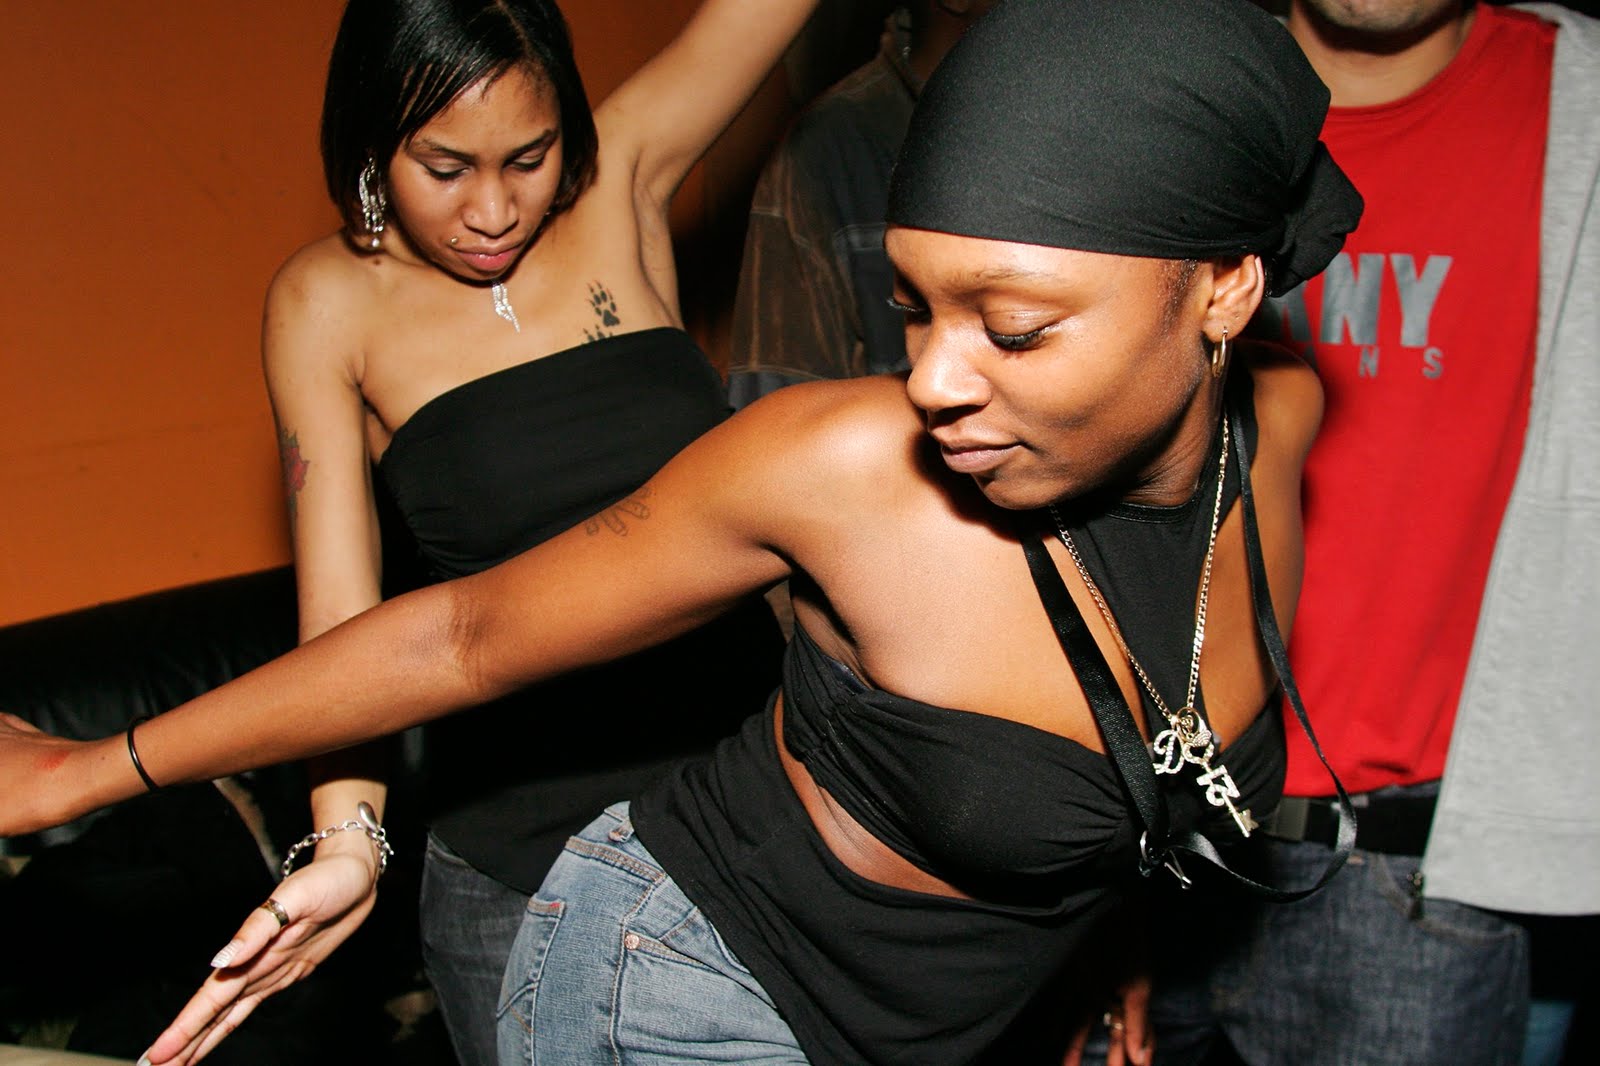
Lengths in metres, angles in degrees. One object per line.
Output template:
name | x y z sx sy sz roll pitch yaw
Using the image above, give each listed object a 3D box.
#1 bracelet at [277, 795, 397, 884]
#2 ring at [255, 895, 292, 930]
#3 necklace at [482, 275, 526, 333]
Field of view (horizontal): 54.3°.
bracelet | -0.817 0.578 2.753 0.139 0.078 0.212 24 25 22
ring | -0.874 0.633 2.604 0.020 0.055 0.046 -45 36 -15
necklace | -0.612 -0.465 3.205 0.045 0.116 0.023 -23 1 -10
